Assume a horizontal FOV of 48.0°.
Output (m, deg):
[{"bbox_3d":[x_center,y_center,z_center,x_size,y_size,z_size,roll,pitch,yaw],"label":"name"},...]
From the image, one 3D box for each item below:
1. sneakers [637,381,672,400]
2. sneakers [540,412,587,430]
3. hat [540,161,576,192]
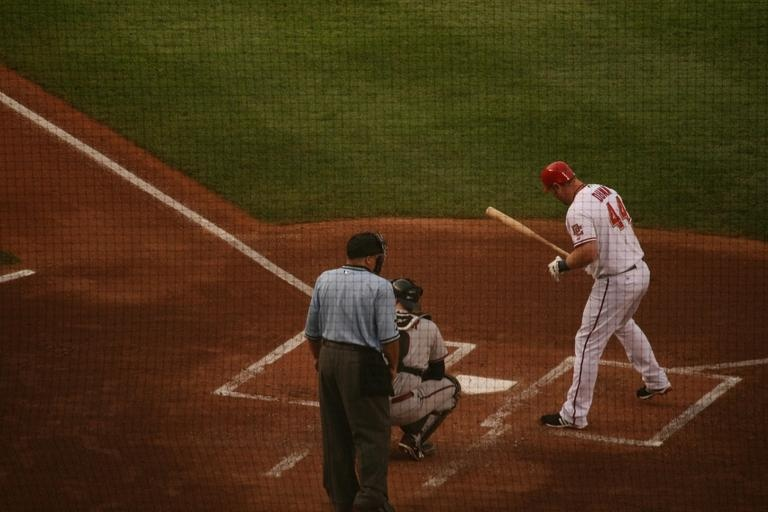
[{"bbox_3d":[3.678,1.845,11.922,0.504,0.203,0.221,-9,-13,31],"label":"sneakers"},{"bbox_3d":[2.368,2.223,11.567,0.614,0.242,0.227,6,9,6],"label":"sneakers"},{"bbox_3d":[2.270,-1.055,11.704,0.466,0.260,0.329,-12,32,47],"label":"hat"}]
